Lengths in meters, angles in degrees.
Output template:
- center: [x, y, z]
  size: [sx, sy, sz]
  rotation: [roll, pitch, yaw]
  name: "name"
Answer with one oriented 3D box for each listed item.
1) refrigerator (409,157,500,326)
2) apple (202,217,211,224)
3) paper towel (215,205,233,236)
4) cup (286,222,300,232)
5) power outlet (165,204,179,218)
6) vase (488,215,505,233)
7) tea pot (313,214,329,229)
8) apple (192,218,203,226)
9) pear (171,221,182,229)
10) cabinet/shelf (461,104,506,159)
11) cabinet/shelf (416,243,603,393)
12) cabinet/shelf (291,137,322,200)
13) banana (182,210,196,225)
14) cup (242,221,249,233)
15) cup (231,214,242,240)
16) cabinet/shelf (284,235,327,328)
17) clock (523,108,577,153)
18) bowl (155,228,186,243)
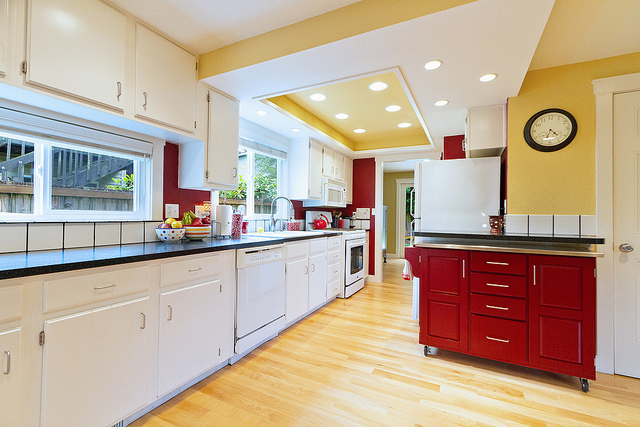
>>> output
- center: [1.690, 0.370, 5.435]
  size: [1.296, 2.250, 1.133]
  rotation: [0, -2, 3]
  name: "refrigerator"
- center: [-1.113, 0.067, 4.404]
  size: [0.068, 0.033, 0.066]
  rotation: [3, 11, 12]
  name: "apple"
- center: [-0.960, 0.078, 4.577]
  size: [0.130, 0.211, 0.126]
  rotation: [-1, 0, -40]
  name: "paper towel"
- center: [-0.358, 0.157, 5.822]
  size: [0.113, 0.125, 0.196]
  rotation: [1, 0, 26]
  name: "cup"
- center: [-1.442, -0.031, 4.343]
  size: [0.016, 0.130, 0.142]
  rotation: [-4, -5, 36]
  name: "power outlet"
- center: [1.762, 0.100, 4.562]
  size: [0.184, 0.172, 0.173]
  rotation: [1, 2, 25]
  name: "vase"
- center: [-0.011, 0.115, 6.499]
  size: [0.213, 0.200, 0.437]
  rotation: [0, 2, -3]
  name: "tea pot"
- center: [-1.180, 0.076, 4.316]
  size: [0.067, 0.044, 0.110]
  rotation: [1, 7, -18]
  name: "apple"
- center: [-1.316, 0.101, 4.128]
  size: [0.066, 0.061, 0.065]
  rotation: [3, 1, 23]
  name: "pear"
- center: [1.752, -0.806, 4.856]
  size: [0.424, 0.452, 0.657]
  rotation: [2, 1, 22]
  name: "cabinet/shelf"
- center: [1.809, 0.901, 4.355]
  size: [0.679, 1.150, 1.855]
  rotation: [5, -6, -40]
  name: "cabinet/shelf"
- center: [-0.165, -0.592, 5.948]
  size: [0.479, 0.786, 0.300]
  rotation: [-1, 2, -13]
  name: "cabinet/shelf"
- center: [-1.270, 0.038, 4.319]
  size: [0.131, 0.122, 0.154]
  rotation: [0, 2, 1]
  name: "banana"
- center: [-0.864, 0.154, 5.147]
  size: [0.113, 0.122, 0.113]
  rotation: [0, -1, 0]
  name: "cup"
- center: [-0.881, 0.119, 4.704]
  size: [0.103, 0.243, 0.211]
  rotation: [0, 2, -9]
  name: "cup"
- center: [-0.291, 0.724, 5.156]
  size: [0.478, 0.876, 0.962]
  rotation: [3, 6, 29]
  name: "cabinet/shelf"
- center: [2.200, -0.793, 4.277]
  size: [0.413, 0.393, 0.044]
  rotation: [-11, -11, 30]
  name: "clock"
- center: [-1.364, 0.190, 4.078]
  size: [0.172, 0.085, 0.169]
  rotation: [-2, -3, 0]
  name: "bowl"
